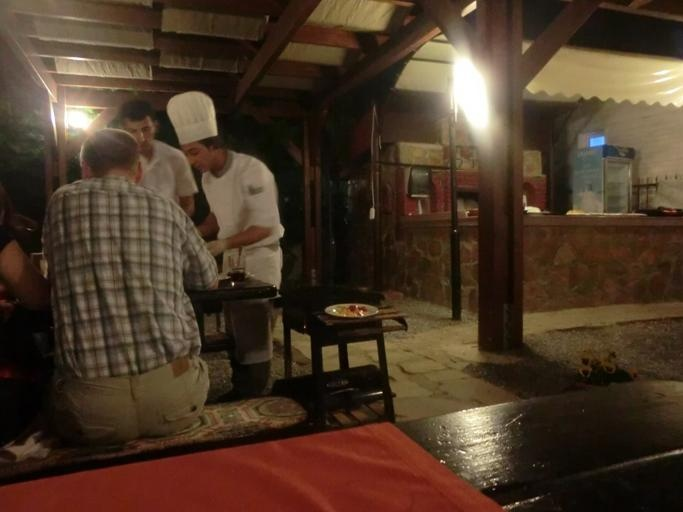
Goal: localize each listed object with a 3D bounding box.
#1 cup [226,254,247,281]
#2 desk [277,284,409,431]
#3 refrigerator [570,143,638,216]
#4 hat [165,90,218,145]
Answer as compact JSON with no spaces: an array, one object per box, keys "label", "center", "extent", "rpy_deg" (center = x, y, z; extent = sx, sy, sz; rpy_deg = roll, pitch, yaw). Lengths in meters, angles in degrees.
[{"label":"cup","center":[-0.725,0.075,3.833],"extent":[0.154,0.268,0.154],"rpy_deg":[-1,-5,0]},{"label":"desk","center":[0.035,0.685,3.972],"extent":[0.590,0.811,1.101],"rpy_deg":[-1,7,-23]},{"label":"refrigerator","center":[6.367,-1.714,13.222],"extent":[1.152,1.846,1.144],"rpy_deg":[-7,8,-44]},{"label":"hat","center":[-1.190,-1.141,4.412],"extent":[0.396,0.395,0.463],"rpy_deg":[-27,21,-39]}]
